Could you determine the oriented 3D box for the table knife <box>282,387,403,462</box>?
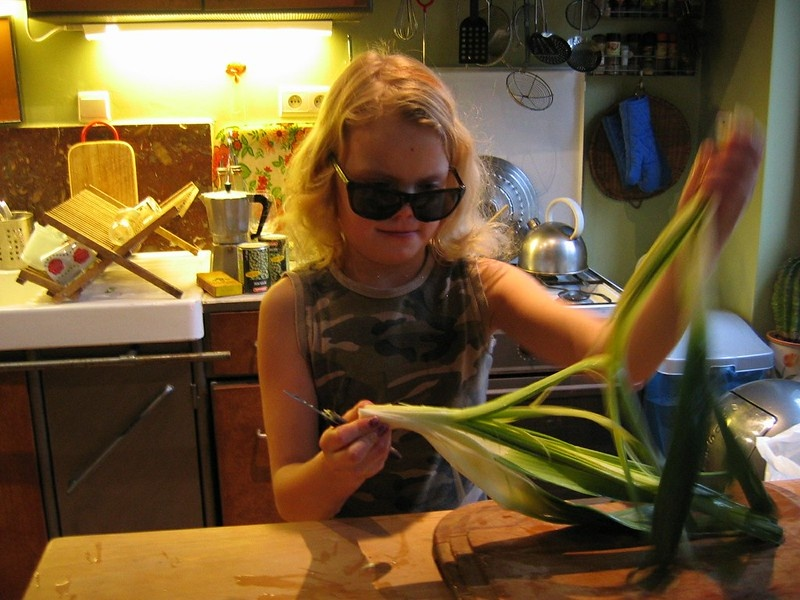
[{"bbox_3d":[-0.103,0.225,1.214,0.040,0.040,0.265,44,-6,-40],"label":"table knife"}]

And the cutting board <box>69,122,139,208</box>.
[{"bbox_3d":[-1.148,-0.504,2.605,0.239,0.361,0.039,-4,-9,-17],"label":"cutting board"}]

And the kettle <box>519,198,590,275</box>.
[{"bbox_3d":[0.544,-0.257,2.566,0.257,0.295,0.278,-5,13,-33],"label":"kettle"}]

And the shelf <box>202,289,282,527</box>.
[{"bbox_3d":[-0.540,0.458,2.314,0.223,0.343,0.173,-3,5,-27],"label":"shelf"}]
